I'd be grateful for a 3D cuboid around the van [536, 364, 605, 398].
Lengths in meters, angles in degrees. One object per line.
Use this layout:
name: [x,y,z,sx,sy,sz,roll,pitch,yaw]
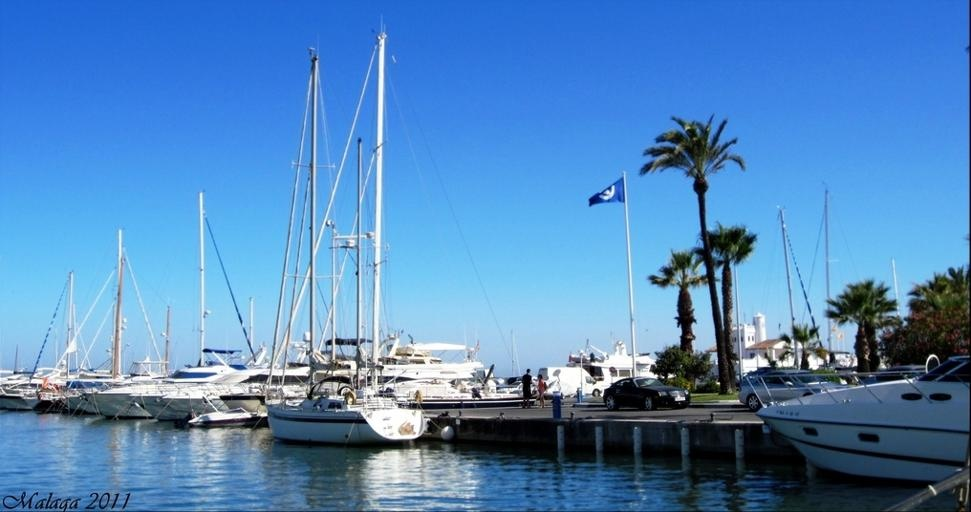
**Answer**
van: [7.115,10.178,76.539,4.540,2.685,5.727,-4,-11,5]
